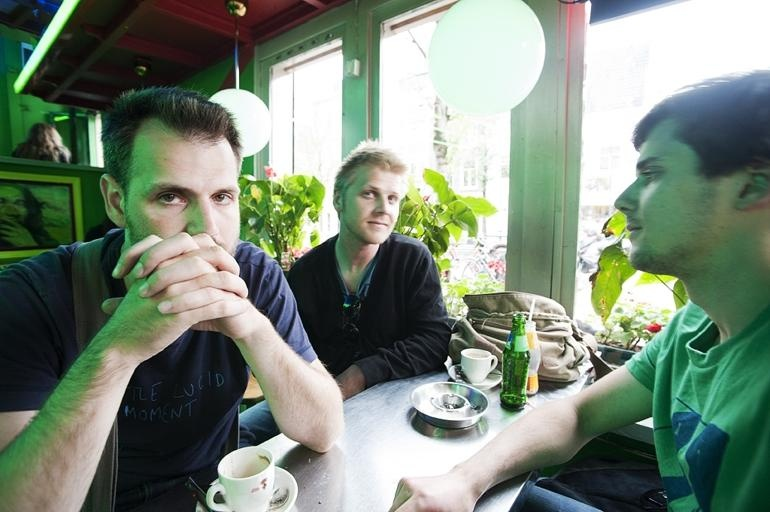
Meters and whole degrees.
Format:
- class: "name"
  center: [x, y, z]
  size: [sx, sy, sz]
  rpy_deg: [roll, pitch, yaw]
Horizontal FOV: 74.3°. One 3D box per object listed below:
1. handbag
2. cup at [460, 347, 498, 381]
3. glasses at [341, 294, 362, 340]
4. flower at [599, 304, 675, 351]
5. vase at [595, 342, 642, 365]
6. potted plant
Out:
- class: "handbag"
  center: [0.641, 0.346, 2.472]
  size: [0.460, 0.240, 0.557]
  rpy_deg: [6, -1, -6]
- class: "cup"
  center: [0.422, 0.490, 2.339]
  size: [0.140, 0.114, 0.164]
  rpy_deg: [2, 1, 44]
- class: "glasses"
  center: [-0.180, 0.320, 2.738]
  size: [0.120, 0.191, 0.078]
  rpy_deg: [4, 0, 17]
- class: "flower"
  center: [1.384, 0.329, 2.794]
  size: [0.302, 0.177, 0.296]
  rpy_deg: [-16, 19, -26]
- class: "vase"
  center: [1.208, 0.507, 2.640]
  size: [0.137, 0.135, 0.204]
  rpy_deg: [4, -3, -37]
- class: "potted plant"
  center: [-0.761, -0.221, 4.018]
  size: [0.766, 0.720, 0.748]
  rpy_deg: [3, -3, -14]
